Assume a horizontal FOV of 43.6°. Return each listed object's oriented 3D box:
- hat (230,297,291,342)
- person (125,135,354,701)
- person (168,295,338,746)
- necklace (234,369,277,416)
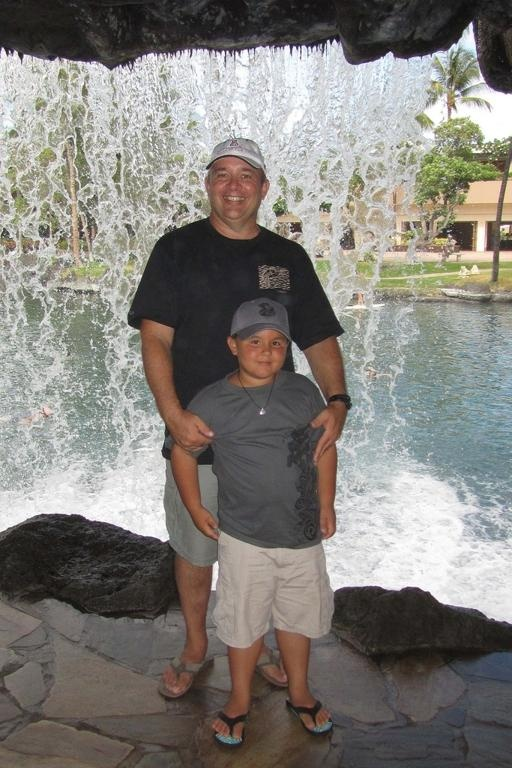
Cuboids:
[{"bbox_3d":[0.015,-0.197,1.935,0.176,0.123,0.104,2,8,-2],"label":"hat"},{"bbox_3d":[-0.023,0.127,2.119,0.811,1.818,0.661,-2,10,-18],"label":"person"},{"bbox_3d":[0.012,0.409,1.992,0.559,1.338,0.321,1,9,-7],"label":"person"},{"bbox_3d":[0.003,0.029,1.958,0.104,0.118,0.097,-5,-22,-3],"label":"necklace"}]
